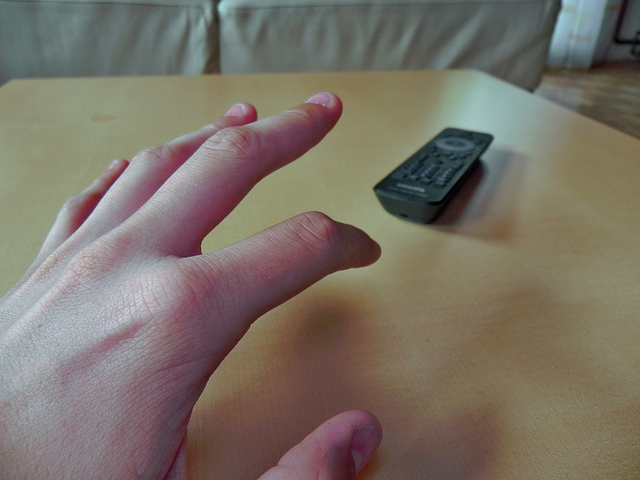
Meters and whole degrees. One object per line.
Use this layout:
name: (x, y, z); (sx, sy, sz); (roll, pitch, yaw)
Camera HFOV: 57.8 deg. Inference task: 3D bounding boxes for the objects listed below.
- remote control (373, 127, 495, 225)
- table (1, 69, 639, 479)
remote control: (0.125, -0.074, 0.614); (0.071, 0.045, 0.179); (11, 45, 32)
table: (0.073, 0.018, 0.635); (0.467, 0.130, 0.516); (-10, 40, -7)
